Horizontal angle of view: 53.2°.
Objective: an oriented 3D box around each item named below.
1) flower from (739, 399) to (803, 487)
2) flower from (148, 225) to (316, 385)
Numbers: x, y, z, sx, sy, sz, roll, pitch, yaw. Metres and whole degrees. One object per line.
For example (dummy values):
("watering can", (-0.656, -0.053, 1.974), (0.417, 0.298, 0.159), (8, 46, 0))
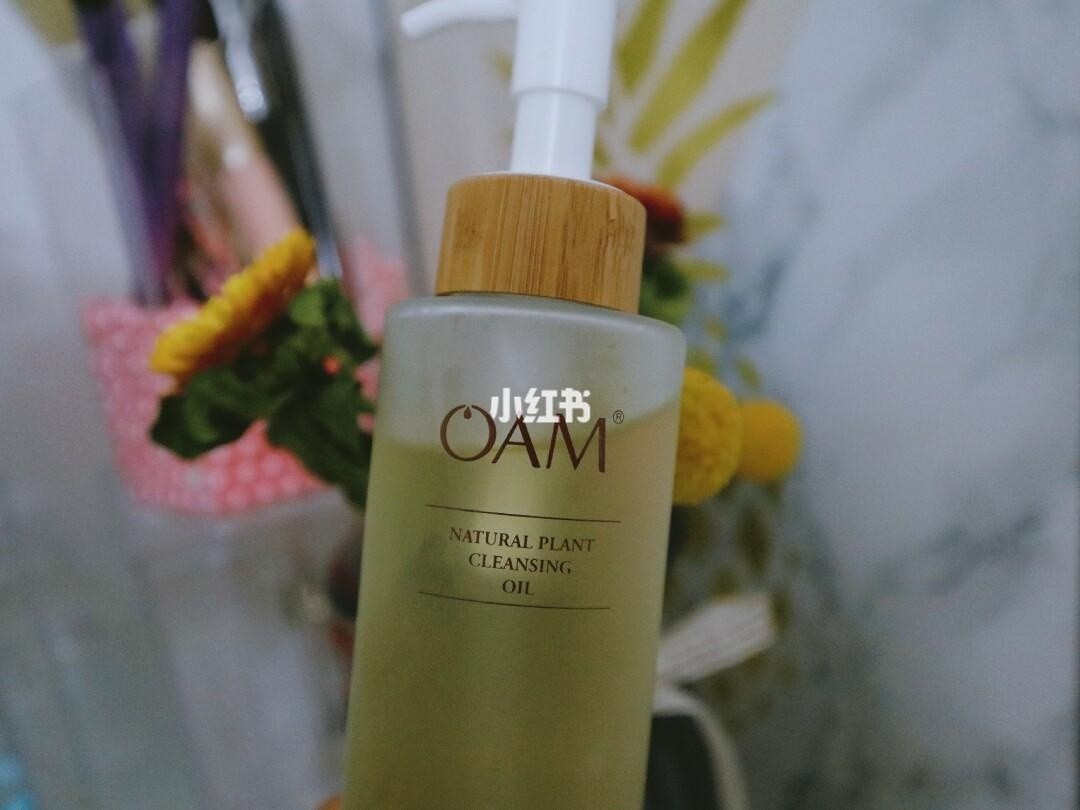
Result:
("flower", (0.164, 0.026, 0.771), (0.050, 0.054, 0.025), (-20, 2, -1))
("flower", (-0.224, -0.069, 0.791), (0.032, 0.134, 0.078), (48, 13, 10))
